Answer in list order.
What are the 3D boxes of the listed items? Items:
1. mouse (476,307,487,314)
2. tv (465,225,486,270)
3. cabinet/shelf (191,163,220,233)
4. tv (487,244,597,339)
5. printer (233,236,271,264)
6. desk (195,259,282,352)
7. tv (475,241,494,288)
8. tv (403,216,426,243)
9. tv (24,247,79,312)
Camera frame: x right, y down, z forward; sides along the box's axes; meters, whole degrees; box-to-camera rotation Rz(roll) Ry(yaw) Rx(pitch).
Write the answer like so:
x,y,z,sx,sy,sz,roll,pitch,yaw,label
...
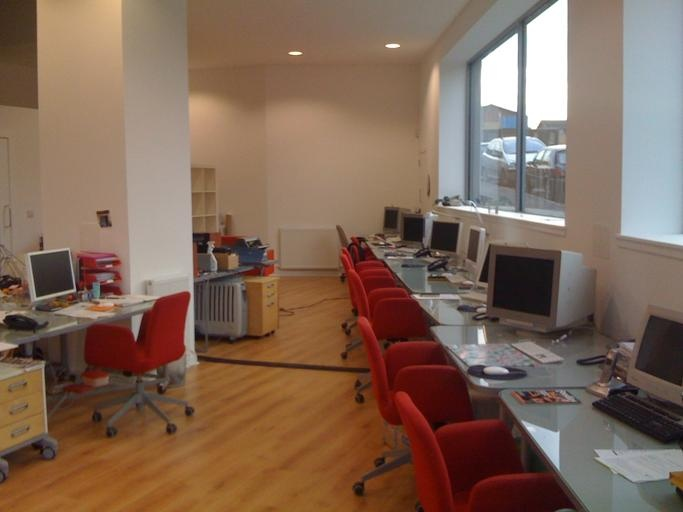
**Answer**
x,y,z,sx,sy,sz,roll,pitch,yaw,label
1.055,0.408,3.930,0.052,0.021,0.053,-5,9,23,mouse
1.354,-0.074,5.269,0.120,0.382,0.385,7,17,-5,tv
-2.447,-1.027,9.357,0.441,1.166,0.393,-2,9,-15,cabinet/shelf
1.352,0.218,3.572,0.520,0.646,0.592,2,-6,27,tv
-1.112,-0.075,6.422,0.285,0.292,0.419,-2,4,4,printer
-1.212,0.566,6.024,1.289,1.009,0.755,1,9,8,desk
1.221,0.081,4.452,0.108,0.334,0.326,9,19,7,tv
1.113,-0.414,7.879,0.056,0.420,0.379,-5,-1,-33,tv
-2.355,0.208,4.246,0.143,0.442,0.427,-6,5,23,tv
